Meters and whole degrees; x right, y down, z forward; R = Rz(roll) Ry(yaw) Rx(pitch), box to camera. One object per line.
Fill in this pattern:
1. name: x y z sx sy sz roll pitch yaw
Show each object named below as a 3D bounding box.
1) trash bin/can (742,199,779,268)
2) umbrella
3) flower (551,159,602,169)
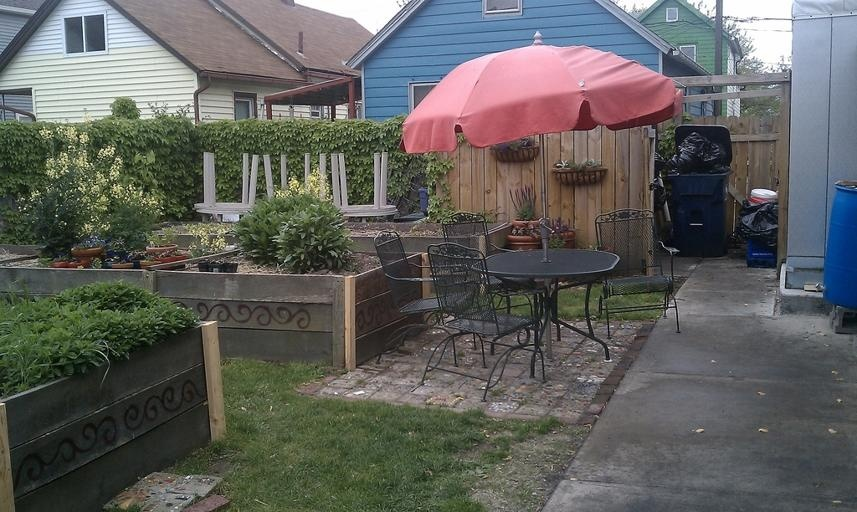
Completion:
1. trash bin/can: 5.543 -0.373 11.116 0.549 1.079 0.339 -1 7 20
2. umbrella: 1.504 -0.786 9.057 3.731 3.411 3.656 -1 8 16
3. flower: 2.494 -1.536 11.042 0.456 0.106 0.296 2 10 29
